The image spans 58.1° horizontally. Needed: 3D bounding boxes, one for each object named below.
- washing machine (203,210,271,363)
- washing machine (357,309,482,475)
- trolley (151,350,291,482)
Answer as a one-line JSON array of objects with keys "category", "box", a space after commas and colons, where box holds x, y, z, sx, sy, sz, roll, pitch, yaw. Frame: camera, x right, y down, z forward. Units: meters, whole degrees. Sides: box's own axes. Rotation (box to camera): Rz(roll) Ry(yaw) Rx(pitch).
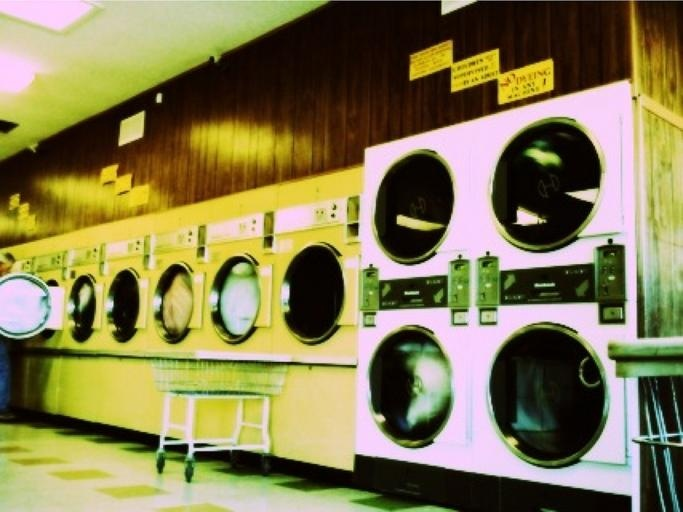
[{"category": "washing machine", "box": [-0.831, 0.281, 5.012, 0.399, 1.370, 0.954, 7, -11, -37]}, {"category": "washing machine", "box": [0.480, 0.802, 3.550, 0.473, 0.949, 0.829, 12, -16, -41]}, {"category": "trolley", "box": [-0.818, 1.186, 4.552, 0.836, 0.793, 0.601, 2, -14, -6]}]
